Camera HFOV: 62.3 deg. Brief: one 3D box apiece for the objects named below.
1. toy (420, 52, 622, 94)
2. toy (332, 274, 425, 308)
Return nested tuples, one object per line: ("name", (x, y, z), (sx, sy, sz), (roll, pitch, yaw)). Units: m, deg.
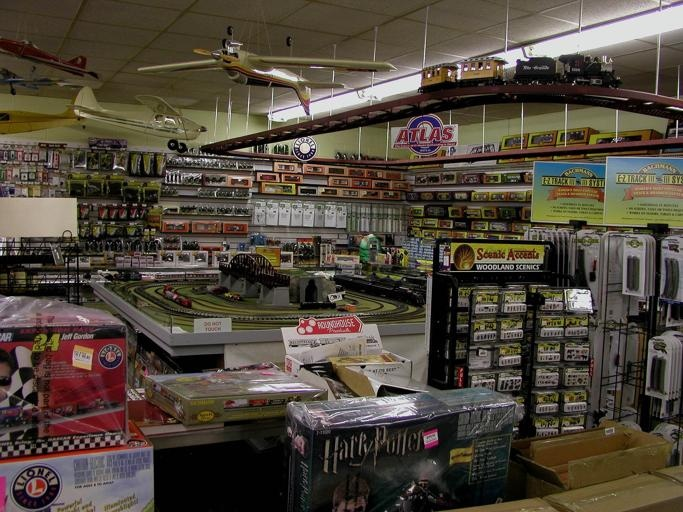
("toy", (1.612, -1.673, 5.164), (1.723, 0.336, 0.393), (1, 4, 17))
("toy", (0.509, 0.425, 7.328), (0.387, 0.138, 1.468), (0, 3, -21))
